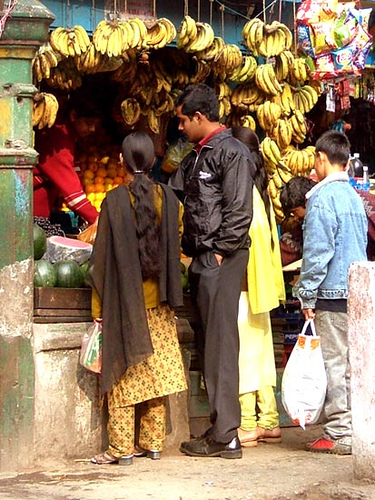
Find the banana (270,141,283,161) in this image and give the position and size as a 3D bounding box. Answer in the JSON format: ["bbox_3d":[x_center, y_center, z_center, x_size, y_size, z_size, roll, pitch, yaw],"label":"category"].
[{"bbox_3d":[0.804,-0.903,5.216,0.069,0.207,0.057,-14,15,16],"label":"banana"}]

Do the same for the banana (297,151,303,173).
[{"bbox_3d":[1.024,-0.805,5.325,0.044,0.176,0.065,0,-7,-12],"label":"banana"}]

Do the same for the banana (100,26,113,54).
[{"bbox_3d":[-0.600,-1.549,4.274,0.033,0.225,0.099,-4,-6,40],"label":"banana"}]

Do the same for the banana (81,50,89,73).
[{"bbox_3d":[-0.789,-1.400,4.358,0.038,0.053,0.159,24,-50,-10],"label":"banana"}]

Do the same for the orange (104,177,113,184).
[{"bbox_3d":[-0.781,-0.687,5.729,0.063,0.062,0.071,17,26,-38],"label":"orange"}]

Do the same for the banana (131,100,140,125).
[{"bbox_3d":[-0.454,-1.203,5.066,0.058,0.170,0.136,1,-5,-9],"label":"banana"}]

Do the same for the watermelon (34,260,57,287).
[{"bbox_3d":[-0.857,0.134,3.396,0.116,0.165,0.225,-1,-5,12],"label":"watermelon"}]

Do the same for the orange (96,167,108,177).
[{"bbox_3d":[-0.851,-0.778,5.758,0.094,0.107,0.092,-11,12,-15],"label":"orange"}]

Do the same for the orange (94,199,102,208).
[{"bbox_3d":[-0.860,-0.445,5.538,0.065,0.095,0.108,1,-5,-10],"label":"orange"}]

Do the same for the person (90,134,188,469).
[{"bbox_3d":[-0.268,0.268,3.173,0.510,1.789,0.312,0,-5,-2],"label":"person"}]

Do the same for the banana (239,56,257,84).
[{"bbox_3d":[0.507,-1.549,5.051,0.069,0.162,0.212,18,-27,10],"label":"banana"}]

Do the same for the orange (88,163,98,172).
[{"bbox_3d":[-0.940,-0.818,5.752,0.079,0.081,0.092,5,8,-15],"label":"orange"}]

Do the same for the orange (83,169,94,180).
[{"bbox_3d":[-0.971,-0.739,5.729,0.099,0.095,0.114,-7,-22,1],"label":"orange"}]

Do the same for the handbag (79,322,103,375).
[{"bbox_3d":[-0.516,0.516,3.111,0.152,0.260,0.057,-2,-5,23],"label":"handbag"}]

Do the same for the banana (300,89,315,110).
[{"bbox_3d":[1.121,-1.412,5.441,0.050,0.163,0.129,-5,-4,-28],"label":"banana"}]

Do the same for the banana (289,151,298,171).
[{"bbox_3d":[0.976,-0.819,5.347,0.041,0.176,0.060,15,-5,37],"label":"banana"}]

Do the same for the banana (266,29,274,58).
[{"bbox_3d":[0.722,-1.815,5.096,0.054,0.286,0.105,-1,-11,-3],"label":"banana"}]

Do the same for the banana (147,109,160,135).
[{"bbox_3d":[-0.311,-1.141,5.218,0.101,0.218,0.193,0,-5,-5],"label":"banana"}]

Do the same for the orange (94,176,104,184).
[{"bbox_3d":[-0.868,-0.686,5.683,0.074,0.072,0.085,-12,-38,-17],"label":"orange"}]

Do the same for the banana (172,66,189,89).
[{"bbox_3d":[-0.059,-1.565,5.277,0.126,0.162,0.058,-11,-3,-35],"label":"banana"}]

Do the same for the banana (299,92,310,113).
[{"bbox_3d":[1.104,-1.383,5.452,0.039,0.207,0.054,5,-30,-45],"label":"banana"}]

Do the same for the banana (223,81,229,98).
[{"bbox_3d":[0.348,-1.441,5.216,0.039,0.140,0.095,-3,-6,32],"label":"banana"}]

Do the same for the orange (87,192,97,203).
[{"bbox_3d":[-0.925,-0.496,5.581,0.105,0.121,0.104,-1,-2,-15],"label":"orange"}]

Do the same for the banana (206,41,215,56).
[{"bbox_3d":[0.193,-1.629,4.702,0.022,0.091,0.088,27,-30,13],"label":"banana"}]

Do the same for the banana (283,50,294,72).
[{"bbox_3d":[0.926,-1.696,5.203,0.037,0.140,0.110,-11,2,13],"label":"banana"}]

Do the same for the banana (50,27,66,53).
[{"bbox_3d":[-0.927,-1.493,4.126,0.043,0.147,0.122,-1,7,44],"label":"banana"}]

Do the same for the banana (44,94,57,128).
[{"bbox_3d":[-0.978,-1.011,4.217,0.050,0.183,0.142,4,7,-1],"label":"banana"}]

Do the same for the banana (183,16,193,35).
[{"bbox_3d":[0.000,-1.715,4.421,0.035,0.105,0.084,-1,4,12],"label":"banana"}]

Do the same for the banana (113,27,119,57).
[{"bbox_3d":[-0.525,-1.526,4.276,0.037,0.184,0.048,0,-8,-2],"label":"banana"}]

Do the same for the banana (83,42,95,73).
[{"bbox_3d":[-0.733,-1.419,4.306,0.060,0.213,0.071,18,6,-9],"label":"banana"}]

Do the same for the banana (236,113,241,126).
[{"bbox_3d":[0.488,-1.251,5.568,0.032,0.129,0.125,2,-16,9],"label":"banana"}]

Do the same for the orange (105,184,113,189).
[{"bbox_3d":[-0.770,-0.623,5.680,0.050,0.049,0.059,26,-40,7],"label":"orange"}]

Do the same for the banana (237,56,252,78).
[{"bbox_3d":[0.498,-1.563,4.967,0.047,0.137,0.123,16,-7,1],"label":"banana"}]

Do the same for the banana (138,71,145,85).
[{"bbox_3d":[-0.409,-1.518,5.128,0.058,0.117,0.038,0,-5,-2],"label":"banana"}]

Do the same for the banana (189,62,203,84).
[{"bbox_3d":[0.089,-1.549,5.075,0.055,0.072,0.200,32,-30,-5],"label":"banana"}]

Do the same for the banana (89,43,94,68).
[{"bbox_3d":[-0.718,-1.437,4.286,0.041,0.154,0.028,10,18,44],"label":"banana"}]

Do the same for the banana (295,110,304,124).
[{"bbox_3d":[1.032,-1.228,5.332,0.072,0.127,0.068,-1,-5,13],"label":"banana"}]

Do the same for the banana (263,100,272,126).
[{"bbox_3d":[0.697,-1.225,5.125,0.050,0.162,0.081,-1,2,-7],"label":"banana"}]

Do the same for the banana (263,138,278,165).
[{"bbox_3d":[0.730,-0.887,5.199,0.061,0.188,0.156,-15,20,17],"label":"banana"}]

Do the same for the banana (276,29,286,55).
[{"bbox_3d":[0.819,-1.820,5.122,0.049,0.206,0.128,-2,-3,44],"label":"banana"}]

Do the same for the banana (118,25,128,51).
[{"bbox_3d":[-0.467,-1.563,4.270,0.037,0.138,0.110,3,6,20],"label":"banana"}]

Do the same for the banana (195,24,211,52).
[{"bbox_3d":[0.150,-1.659,4.546,0.064,0.188,0.151,9,-4,14],"label":"banana"}]

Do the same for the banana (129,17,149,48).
[{"bbox_3d":[-0.361,-1.613,4.370,0.145,0.238,0.065,2,-9,-24],"label":"banana"}]
